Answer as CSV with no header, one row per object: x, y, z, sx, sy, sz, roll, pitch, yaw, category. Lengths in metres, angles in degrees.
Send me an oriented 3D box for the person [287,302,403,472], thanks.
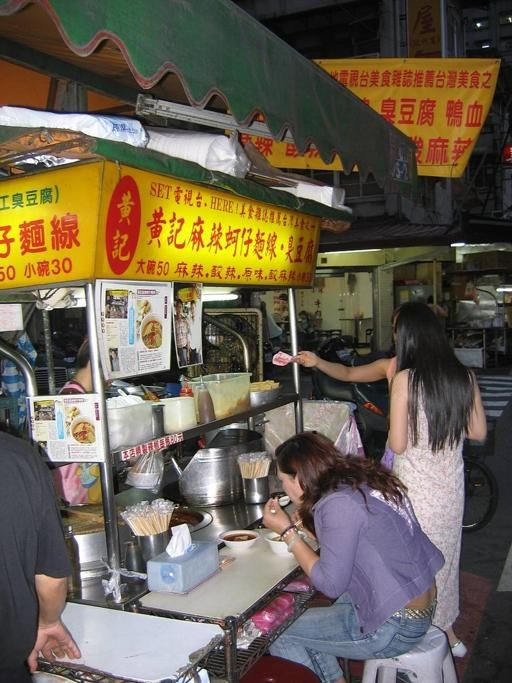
0.577,0.278,3.150,0.854,0.527,0.458,-5,1,-3,person

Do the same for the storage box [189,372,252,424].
-0.172,0.255,2.470,0.214,0.161,0.325,-8,-3,27,storage box

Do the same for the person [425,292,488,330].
4.138,-0.634,10.820,1.070,0.691,1.042,0,12,2,person

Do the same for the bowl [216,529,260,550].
-0.067,0.808,2.207,0.153,0.051,0.182,-5,6,-18,bowl

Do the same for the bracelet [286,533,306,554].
0.135,0.693,1.853,0.055,0.070,0.048,-1,-17,3,bracelet

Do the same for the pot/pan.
-0.208,0.662,2.883,0.421,0.367,0.412,9,11,-26,pot/pan

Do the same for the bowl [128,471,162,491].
-0.401,0.524,2.012,0.074,0.037,0.098,2,-1,7,bowl
